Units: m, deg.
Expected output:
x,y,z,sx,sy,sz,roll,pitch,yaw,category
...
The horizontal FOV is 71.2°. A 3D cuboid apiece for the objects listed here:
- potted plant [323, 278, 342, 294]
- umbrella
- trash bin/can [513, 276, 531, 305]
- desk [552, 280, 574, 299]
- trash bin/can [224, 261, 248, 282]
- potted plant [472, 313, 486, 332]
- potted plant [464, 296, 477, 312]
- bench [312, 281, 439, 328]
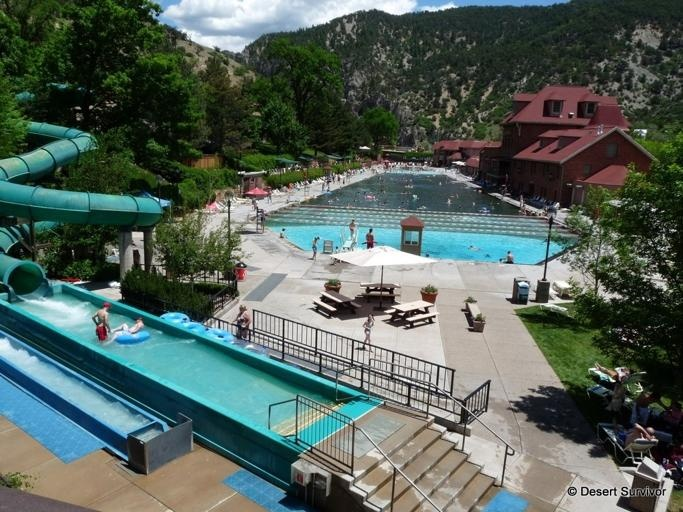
x,y,z,sx,sy,sz,roll,pitch,yaw,category
-0.339,1.444,23.509,0.735,0.564,0.672,1,20,-4,potted plant
1.960,0.609,22.533,3.004,1.989,3.272,-13,15,-39,umbrella
8.957,1.718,23.750,0.707,1.102,1.062,5,11,16,trash bin/can
11.434,1.714,24.540,0.724,0.472,1.010,5,22,8,desk
-5.333,0.798,24.656,1.134,0.886,0.841,2,15,-2,trash bin/can
5.691,2.723,20.155,0.815,0.886,0.652,0,12,3,potted plant
6.148,2.239,22.431,0.712,0.689,0.583,-3,11,-17,potted plant
1.611,2.066,21.870,5.479,1.199,3.170,4,10,12,bench
